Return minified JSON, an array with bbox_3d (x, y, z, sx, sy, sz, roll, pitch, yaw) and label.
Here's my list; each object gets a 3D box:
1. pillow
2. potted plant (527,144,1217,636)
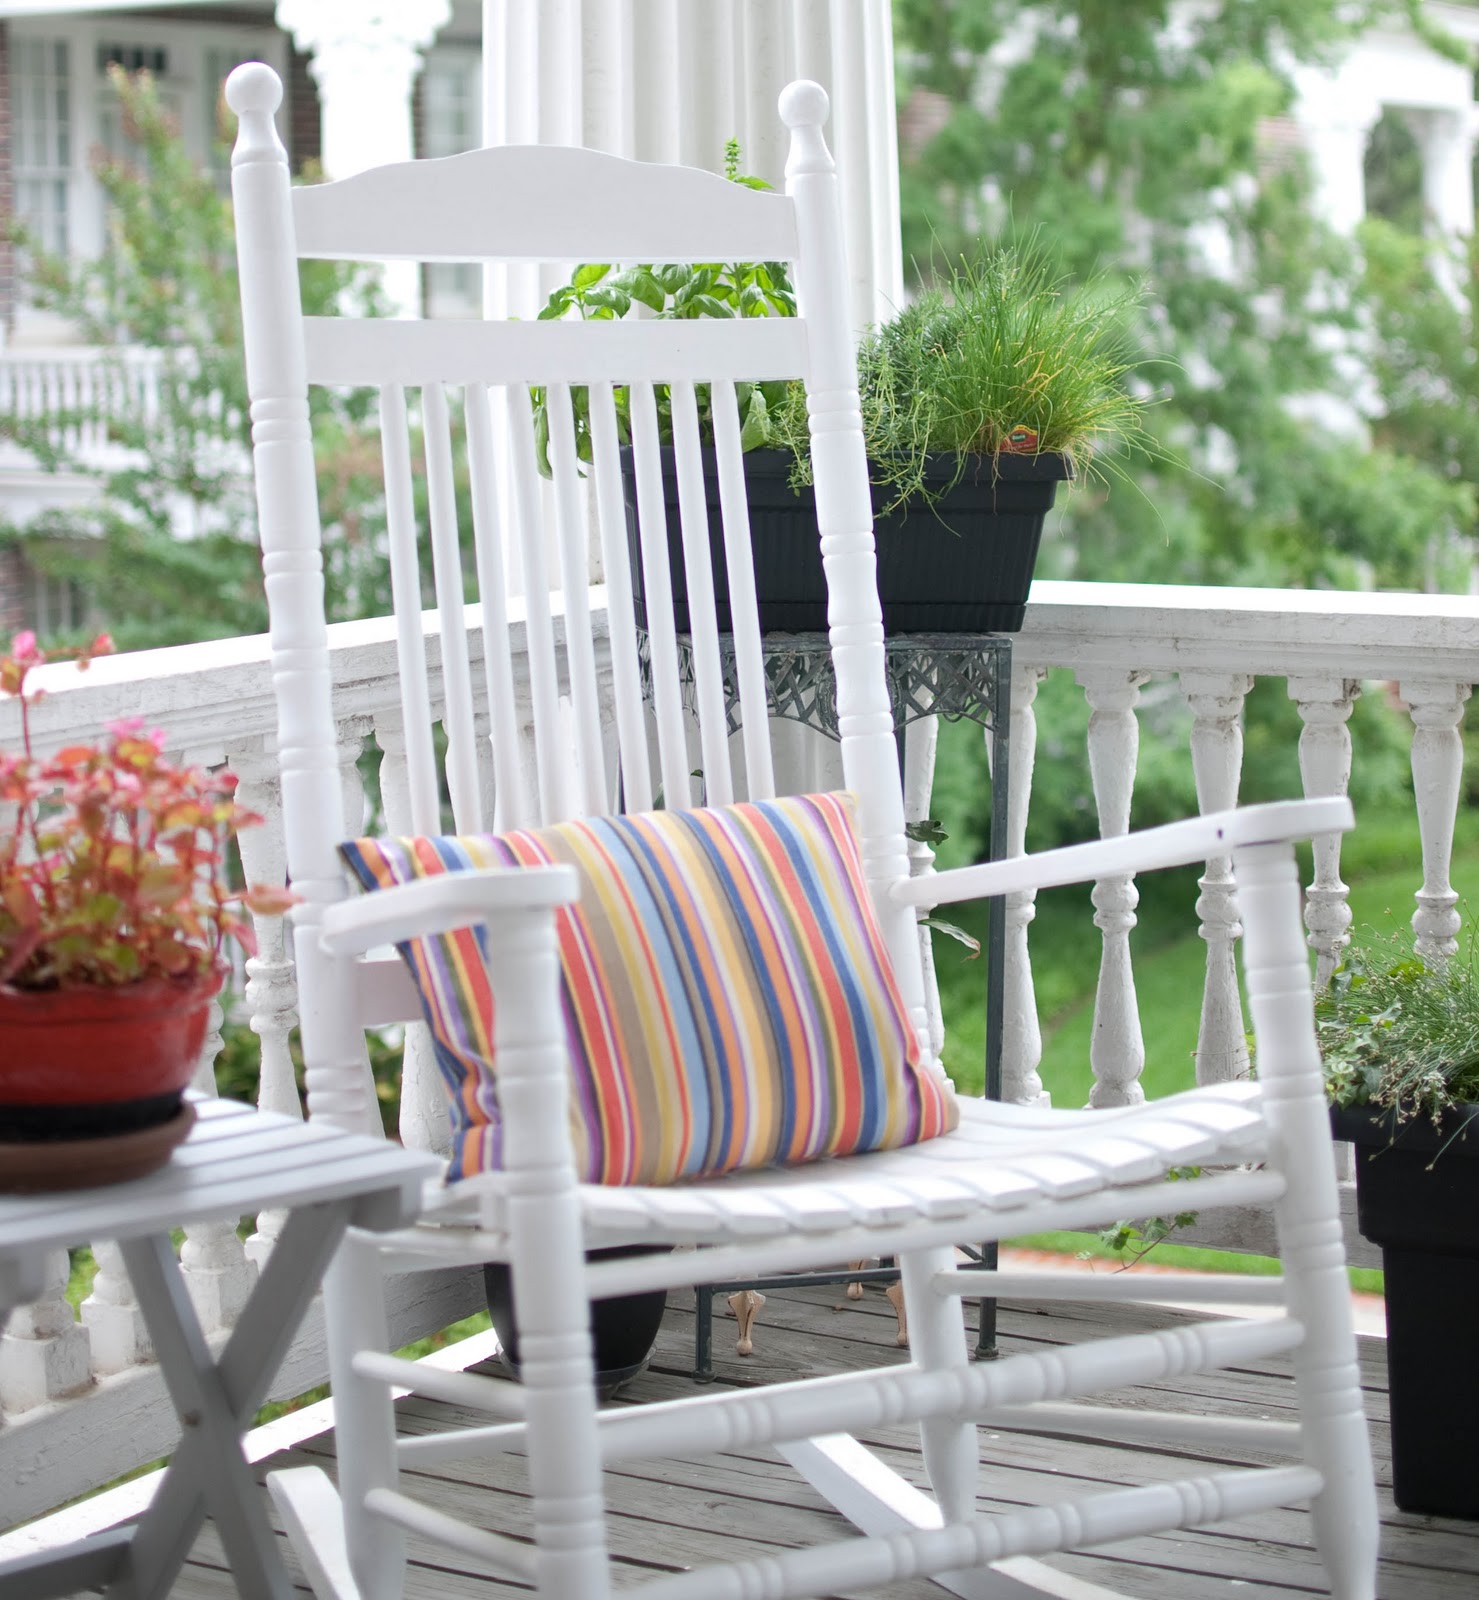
[{"bbox_3d":[-0.062,0.125,1.927,0.308,0.180,0.104,-3,-14,-35],"label":"pillow"},{"bbox_3d":[0.125,-0.358,2.610,0.490,0.265,0.471,-1,3,-4],"label":"potted plant"}]
